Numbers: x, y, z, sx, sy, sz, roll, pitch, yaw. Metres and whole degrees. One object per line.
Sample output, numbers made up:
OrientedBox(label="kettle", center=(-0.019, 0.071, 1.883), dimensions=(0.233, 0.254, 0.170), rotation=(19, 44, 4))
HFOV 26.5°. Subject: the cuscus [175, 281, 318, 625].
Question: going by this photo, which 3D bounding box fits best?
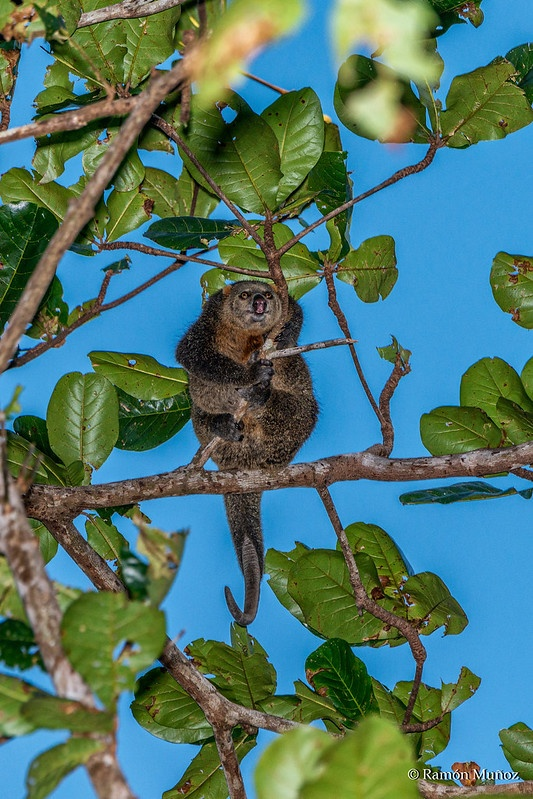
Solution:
OrientedBox(label="cuscus", center=(-0.063, 0.254, 5.501), dimensions=(0.694, 1.620, 0.525), rotation=(0, 4, -2))
